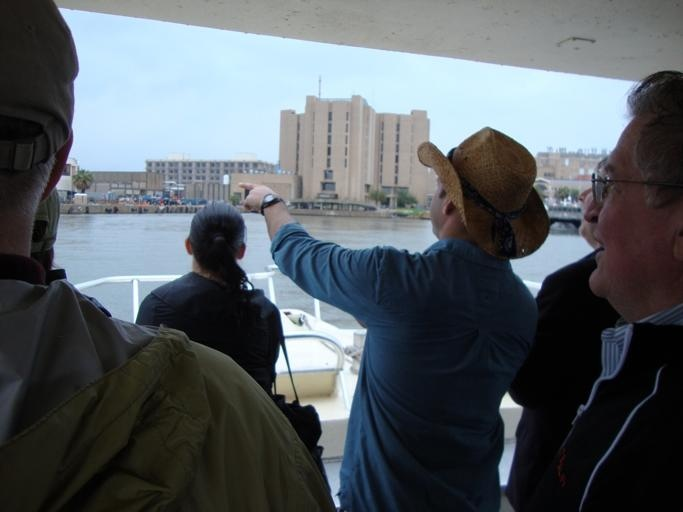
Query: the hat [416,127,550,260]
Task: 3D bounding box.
[{"bbox_3d":[0.592,-0.311,2.566,0.432,0.293,0.627,5,41,-27],"label":"hat"}]
